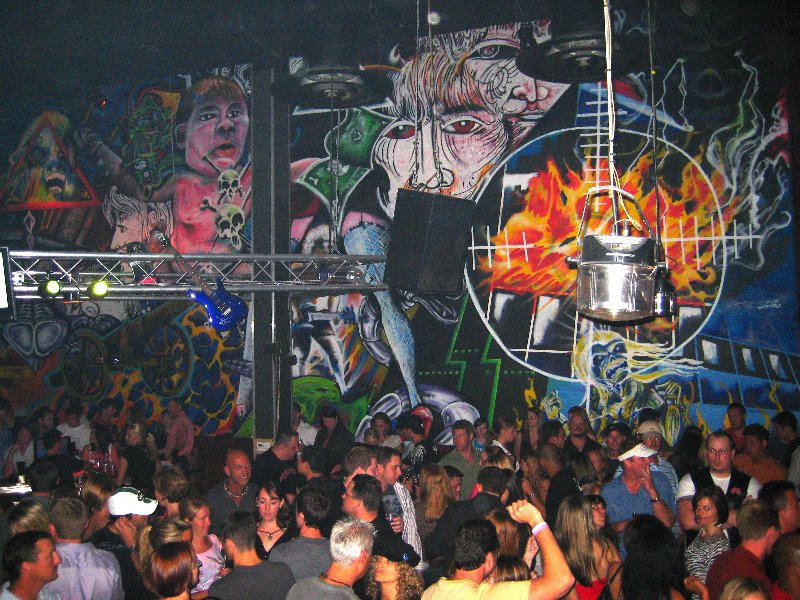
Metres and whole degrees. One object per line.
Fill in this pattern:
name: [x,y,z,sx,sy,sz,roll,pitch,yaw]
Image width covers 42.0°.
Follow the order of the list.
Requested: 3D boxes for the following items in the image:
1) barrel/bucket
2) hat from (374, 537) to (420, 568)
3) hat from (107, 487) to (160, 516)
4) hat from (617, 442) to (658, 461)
barrel/bucket: [2.093,-0.464,9.910,0.815,1.374,1.000,1,-7,15]
hat: [-0.041,2.413,10.044,0.415,0.131,0.292,34,-16,-37]
hat: [-2.748,2.070,10.687,0.409,0.165,0.260,4,2,-18]
hat: [2.567,1.650,11.259,0.292,0.095,0.202,-8,-6,3]
